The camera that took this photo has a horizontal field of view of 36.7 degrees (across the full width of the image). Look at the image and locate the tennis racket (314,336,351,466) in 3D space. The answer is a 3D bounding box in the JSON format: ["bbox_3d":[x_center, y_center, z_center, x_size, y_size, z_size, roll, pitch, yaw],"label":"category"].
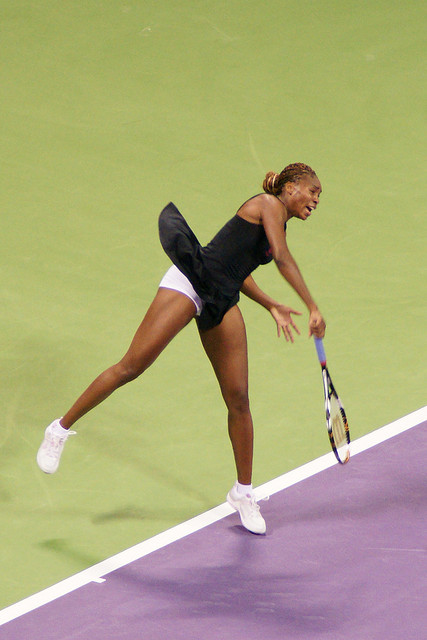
[{"bbox_3d":[0.664,0.473,3.609,0.062,0.212,0.749,-6,-36,21],"label":"tennis racket"}]

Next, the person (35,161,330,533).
[{"bbox_3d":[-0.084,0.117,2.828,1.107,1.525,0.638,-1,12,6],"label":"person"}]

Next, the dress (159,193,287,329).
[{"bbox_3d":[-0.006,-0.211,2.671,0.474,0.484,0.346,0,11,8],"label":"dress"}]
